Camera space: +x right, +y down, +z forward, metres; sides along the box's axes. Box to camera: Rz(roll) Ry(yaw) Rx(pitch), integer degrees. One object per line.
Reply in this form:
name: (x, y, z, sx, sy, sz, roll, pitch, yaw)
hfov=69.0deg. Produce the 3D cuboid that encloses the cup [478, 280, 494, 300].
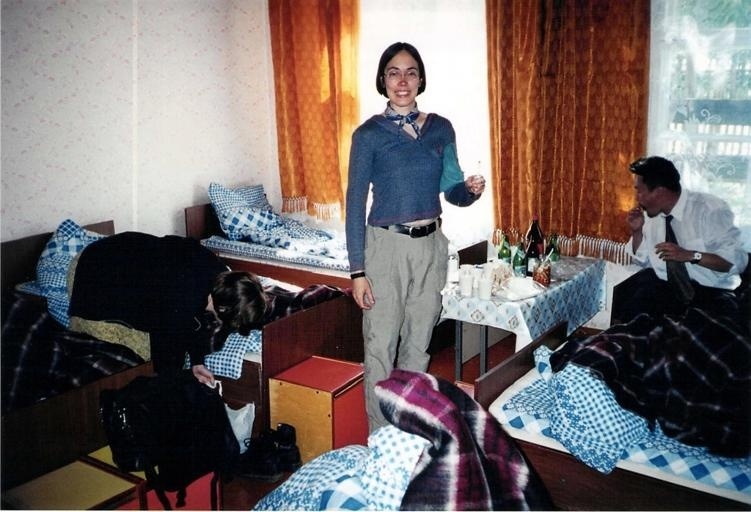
cup: (0.644, 0.190, 3.084, 0.096, 0.111, 0.100, 0, 3, 0)

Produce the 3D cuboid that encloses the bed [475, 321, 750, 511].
bed: (0.819, 0.593, 2.115, 0.656, 0.327, 0.666, -23, 46, -23)

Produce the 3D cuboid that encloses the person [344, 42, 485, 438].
person: (0.158, -0.068, 2.600, 0.597, 1.805, 0.273, -5, 10, -23)

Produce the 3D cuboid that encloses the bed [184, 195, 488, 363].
bed: (-0.528, 0.092, 4.770, 2.177, 1.206, 1.213, 16, 21, 25)

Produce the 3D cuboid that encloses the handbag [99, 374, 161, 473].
handbag: (-1.090, 0.749, 2.397, 0.242, 0.359, 0.253, -4, 10, -17)

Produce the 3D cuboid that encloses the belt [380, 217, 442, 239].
belt: (0.189, -0.121, 2.503, 0.254, 0.071, 0.059, -5, 10, -23)

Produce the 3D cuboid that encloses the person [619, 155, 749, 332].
person: (1.820, -0.064, 3.245, 0.699, 1.034, 0.375, 4, 10, 24)

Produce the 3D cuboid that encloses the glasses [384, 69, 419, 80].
glasses: (0.120, -0.828, 2.484, 0.147, 0.046, 0.046, -1, 10, -5)

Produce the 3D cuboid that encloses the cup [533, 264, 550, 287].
cup: (0.975, 0.115, 3.178, 0.116, 0.117, 0.113, 1, -1, 0)

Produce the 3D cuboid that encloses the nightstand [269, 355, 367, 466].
nightstand: (-0.282, 0.724, 2.874, 0.482, 0.466, 0.453, -22, 3, -35)

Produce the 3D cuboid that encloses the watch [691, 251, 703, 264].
watch: (1.837, 0.008, 3.109, 0.059, 0.066, 0.023, -2, 10, -8)

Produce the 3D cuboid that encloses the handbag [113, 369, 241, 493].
handbag: (-0.923, 0.754, 2.400, 0.504, 0.507, 0.204, -12, -7, -26)

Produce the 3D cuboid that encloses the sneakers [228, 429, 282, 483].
sneakers: (-0.579, 0.990, 2.751, 0.245, 0.221, 0.150, 0, -3, 7)

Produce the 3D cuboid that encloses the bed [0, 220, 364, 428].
bed: (-1.103, 0.300, 3.491, 1.815, 0.898, 1.367, 5, 16, 12)

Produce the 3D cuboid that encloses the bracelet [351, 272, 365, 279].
bracelet: (-0.078, 0.089, 2.513, 0.068, 0.041, 0.024, 0, 10, 4)

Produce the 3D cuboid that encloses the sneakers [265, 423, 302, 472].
sneakers: (-0.490, 0.934, 2.717, 0.096, 0.189, 0.274, -3, 13, -23)
